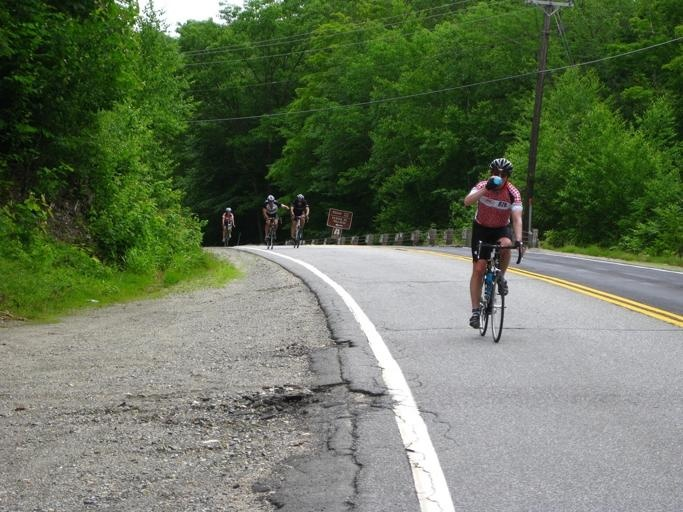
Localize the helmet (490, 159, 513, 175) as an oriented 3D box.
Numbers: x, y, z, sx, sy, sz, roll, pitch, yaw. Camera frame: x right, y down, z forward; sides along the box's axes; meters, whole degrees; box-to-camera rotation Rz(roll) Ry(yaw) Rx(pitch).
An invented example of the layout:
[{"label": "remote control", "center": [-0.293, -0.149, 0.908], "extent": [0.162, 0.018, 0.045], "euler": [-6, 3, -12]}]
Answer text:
[{"label": "helmet", "center": [2.165, -1.198, 10.044], "extent": [0.234, 0.186, 0.312], "euler": [7, 17, 13]}]

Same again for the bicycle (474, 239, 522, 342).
[{"label": "bicycle", "center": [2.035, 0.481, 10.099], "extent": [0.351, 1.269, 0.997], "euler": [2, 10, 10]}]

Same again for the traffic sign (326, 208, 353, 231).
[{"label": "traffic sign", "center": [-0.116, -2.586, 53.053], "extent": [1.480, 1.529, 1.879], "euler": [1, 10, 7]}]

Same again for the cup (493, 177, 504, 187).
[{"label": "cup", "center": [2.091, -0.996, 9.881], "extent": [0.213, 0.128, 0.083], "euler": [-7, 12, -38]}]
